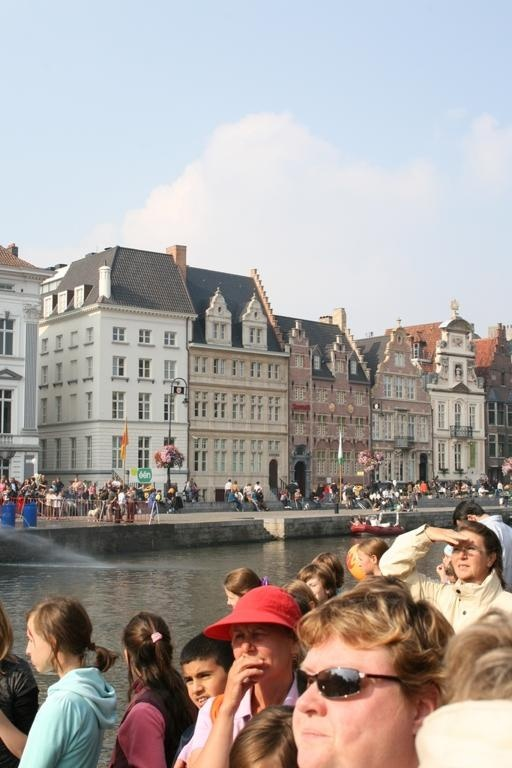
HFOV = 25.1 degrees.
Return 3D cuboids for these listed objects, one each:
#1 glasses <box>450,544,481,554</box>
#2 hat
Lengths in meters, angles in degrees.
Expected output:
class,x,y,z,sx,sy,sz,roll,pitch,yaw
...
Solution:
class,x,y,z,sx,sy,sz,roll,pitch,yaw
glasses,0.934,0.743,5.199,0.078,0.035,0.148,4,-10,-34
hat,-0.012,0.772,3.866,0.328,0.182,0.327,-2,-9,0
